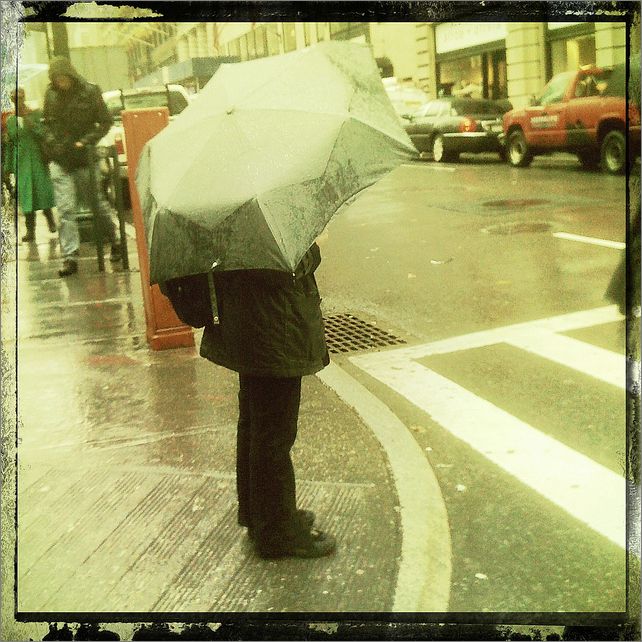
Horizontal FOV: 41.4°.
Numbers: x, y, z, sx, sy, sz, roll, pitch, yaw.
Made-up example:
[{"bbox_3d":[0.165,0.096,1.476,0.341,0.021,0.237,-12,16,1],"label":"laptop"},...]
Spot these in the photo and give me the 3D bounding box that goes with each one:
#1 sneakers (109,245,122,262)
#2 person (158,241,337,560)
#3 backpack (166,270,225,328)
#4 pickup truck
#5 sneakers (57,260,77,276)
[{"bbox_3d":[-2.704,-0.886,11.134,0.111,0.200,0.059,4,-19,4],"label":"sneakers"},{"bbox_3d":[-0.287,0.053,3.397,0.708,1.780,0.483,-10,19,-27],"label":"person"},{"bbox_3d":[-0.498,-0.080,3.293,0.171,0.216,0.068,-4,32,2],"label":"backpack"},{"bbox_3d":[4.883,-3.806,16.161,0.828,1.903,4.088,-6,15,-15],"label":"pickup truck"},{"bbox_3d":[-3.072,-0.649,10.180,0.126,0.192,0.228,-5,18,-33],"label":"sneakers"}]
